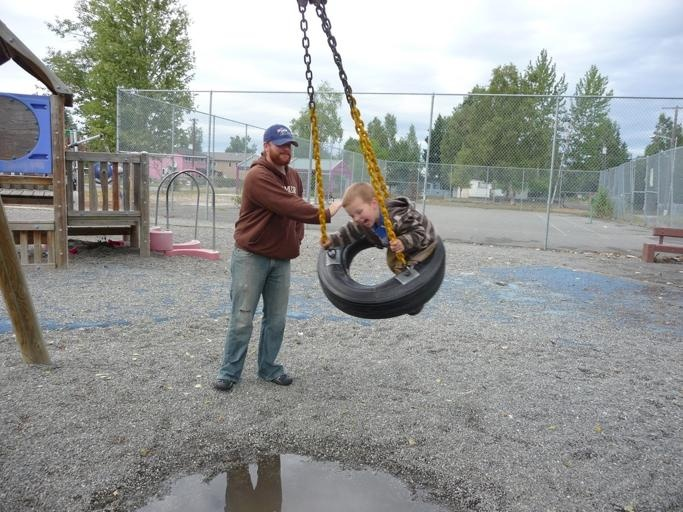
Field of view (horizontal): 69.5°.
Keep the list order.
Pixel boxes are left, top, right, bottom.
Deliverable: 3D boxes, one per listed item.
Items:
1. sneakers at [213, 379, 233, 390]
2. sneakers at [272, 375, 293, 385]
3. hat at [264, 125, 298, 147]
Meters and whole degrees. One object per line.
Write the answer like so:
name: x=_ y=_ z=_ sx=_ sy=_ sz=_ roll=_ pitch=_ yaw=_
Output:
sneakers: x=-0.914 y=0.989 z=3.788 sx=0.072 sy=0.058 sz=0.132 roll=-1 pitch=-10 yaw=5
sneakers: x=-0.465 y=0.991 z=3.948 sx=0.168 sy=0.073 sz=0.067 roll=-3 pitch=10 yaw=15
hat: x=-0.464 y=-0.896 z=3.684 sx=0.224 sy=0.149 sz=0.317 roll=0 pitch=11 yaw=-10
